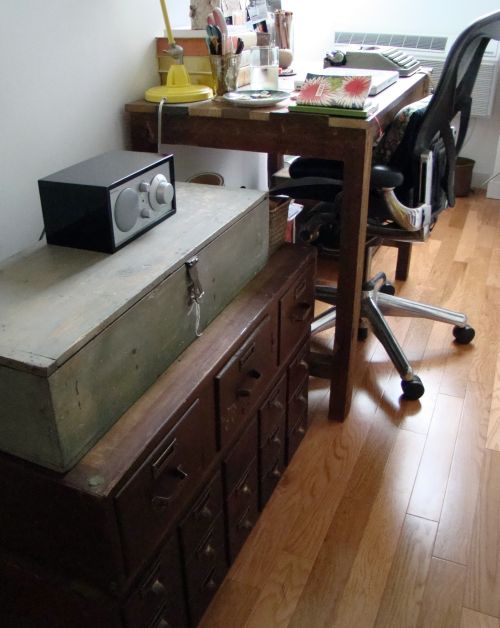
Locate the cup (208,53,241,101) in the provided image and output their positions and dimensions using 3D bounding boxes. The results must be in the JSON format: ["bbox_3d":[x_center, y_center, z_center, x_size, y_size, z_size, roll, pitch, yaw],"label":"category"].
[{"bbox_3d":[-0.063,-0.620,1.328,0.087,0.098,0.087,0,43,0],"label":"cup"}]

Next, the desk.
[{"bbox_3d":[0.166,-0.188,1.878,0.720,1.036,1.420,10,48,11],"label":"desk"}]

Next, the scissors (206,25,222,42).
[{"bbox_3d":[-0.087,-0.681,1.230,0.024,0.035,0.011,21,61,19],"label":"scissors"}]

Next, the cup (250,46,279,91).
[{"bbox_3d":[0.039,-0.671,1.384,0.110,0.112,0.073,4,29,8],"label":"cup"}]

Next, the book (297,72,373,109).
[{"bbox_3d":[0.194,-0.493,1.157,0.139,0.033,0.109,8,73,26],"label":"book"}]
